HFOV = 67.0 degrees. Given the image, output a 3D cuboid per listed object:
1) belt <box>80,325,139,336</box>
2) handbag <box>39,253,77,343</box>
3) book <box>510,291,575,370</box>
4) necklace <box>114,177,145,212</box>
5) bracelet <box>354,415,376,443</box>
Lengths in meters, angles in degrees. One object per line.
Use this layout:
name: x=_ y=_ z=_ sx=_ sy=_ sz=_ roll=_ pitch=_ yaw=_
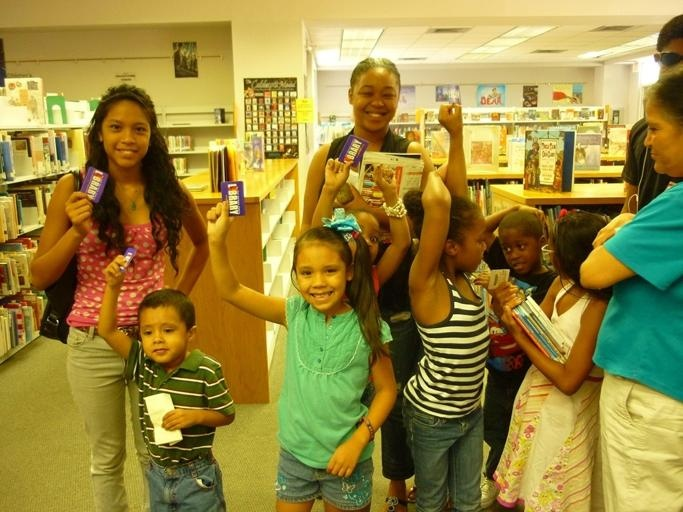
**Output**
belt: x=-0.923 y=0.302 z=2.090 sx=0.116 sy=0.037 sz=0.086 roll=0 pitch=0 yaw=4
handbag: x=-1.231 y=0.172 z=2.153 sx=0.087 sy=0.331 sz=0.229 roll=9 pitch=6 yaw=-1
book: x=0.788 y=0.302 z=2.039 sx=0.076 sy=0.259 sz=0.191 roll=-38 pitch=19 yaw=8
necklace: x=-0.880 y=-0.256 z=2.166 sx=0.101 sy=0.141 sz=0.043 roll=-6 pitch=-9 yaw=-24
bracelet: x=0.097 y=0.630 z=1.889 sx=0.030 sy=0.083 sz=0.063 roll=-20 pitch=0 yaw=-22
